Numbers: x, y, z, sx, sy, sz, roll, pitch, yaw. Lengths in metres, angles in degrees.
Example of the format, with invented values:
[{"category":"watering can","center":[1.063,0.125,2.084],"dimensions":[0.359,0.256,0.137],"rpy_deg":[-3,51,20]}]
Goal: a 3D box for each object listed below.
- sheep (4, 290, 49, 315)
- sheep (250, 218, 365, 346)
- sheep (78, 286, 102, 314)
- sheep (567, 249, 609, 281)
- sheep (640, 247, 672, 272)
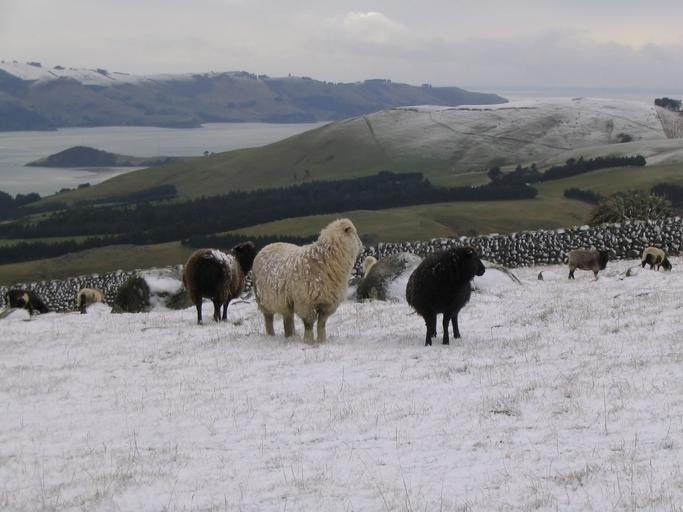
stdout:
[{"category":"sheep","center":[-11.586,1.701,26.677],"dimensions":[0.864,1.057,1.416],"rpy_deg":[5,16,27]},{"category":"sheep","center":[-0.770,0.675,17.709],"dimensions":[3.515,3.014,1.766],"rpy_deg":[-3,-7,39]},{"category":"sheep","center":[-9.803,1.679,28.403],"dimensions":[0.878,0.598,1.387],"rpy_deg":[-7,16,-17]},{"category":"sheep","center":[8.905,0.316,26.225],"dimensions":[1.279,1.071,0.688],"rpy_deg":[3,15,19]},{"category":"sheep","center":[11.534,0.150,26.596],"dimensions":[1.009,0.910,1.478],"rpy_deg":[2,15,16]}]
